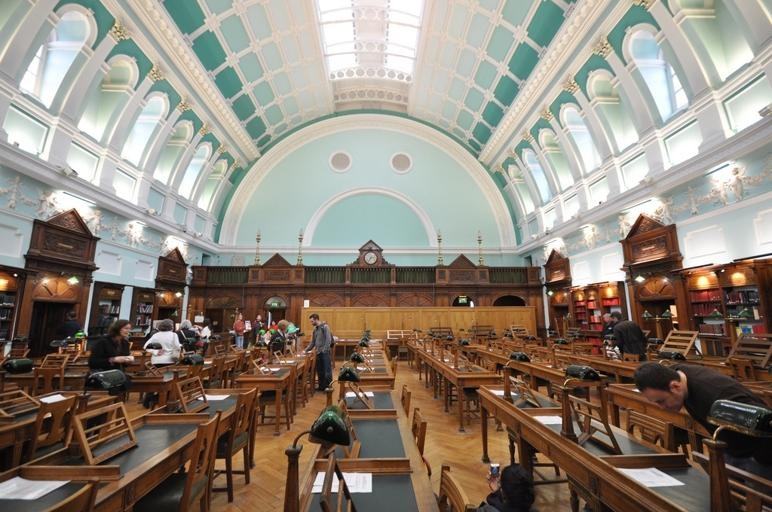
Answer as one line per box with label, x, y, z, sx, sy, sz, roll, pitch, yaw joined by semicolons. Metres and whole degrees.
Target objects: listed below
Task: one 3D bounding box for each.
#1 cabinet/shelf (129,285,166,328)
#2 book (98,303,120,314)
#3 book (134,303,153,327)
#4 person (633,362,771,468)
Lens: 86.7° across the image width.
cabinet/shelf;-8.416;1.731;14.396;0.362;1.289;1.392;-3;-10;11
book;-8.844;1.686;13.135;0.261;0.283;0.735;-4;-9;31
book;-8.629;2.086;14.584;0.324;0.863;0.925;0;0;4
person;3.534;1.747;4.638;1.232;1.122;0.430;-3;-11;1
